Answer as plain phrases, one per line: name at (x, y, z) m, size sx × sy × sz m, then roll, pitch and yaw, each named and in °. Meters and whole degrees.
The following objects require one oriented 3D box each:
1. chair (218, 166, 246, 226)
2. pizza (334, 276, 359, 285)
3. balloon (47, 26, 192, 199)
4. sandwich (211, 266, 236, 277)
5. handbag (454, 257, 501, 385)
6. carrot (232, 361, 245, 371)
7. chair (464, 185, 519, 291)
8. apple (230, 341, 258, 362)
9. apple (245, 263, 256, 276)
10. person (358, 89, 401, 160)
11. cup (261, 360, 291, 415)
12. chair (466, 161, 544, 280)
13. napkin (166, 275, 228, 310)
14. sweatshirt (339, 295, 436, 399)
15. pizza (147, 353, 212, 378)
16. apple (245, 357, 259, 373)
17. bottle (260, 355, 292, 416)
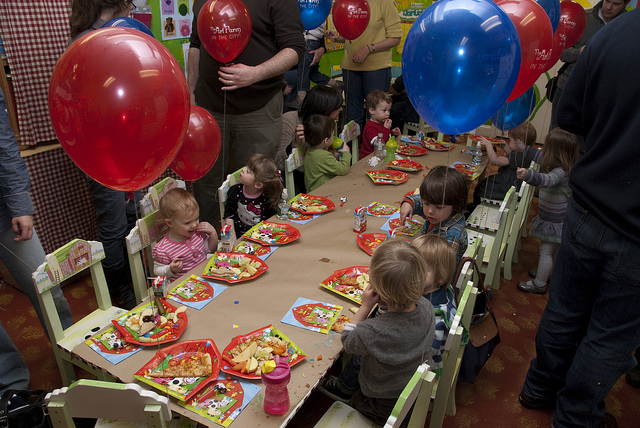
chair at (-0.712, -0.148, 3.504) m, size 0.215 × 0.441 × 0.268 m, roll 4°, pitch 45°, yaw 2°
pizza at (0.171, 0.410, 2.659) m, size 0.085 × 0.017 × 0.059 m, roll 5°, pitch 28°, yaw 11°
balloon at (-0.946, -0.485, 2.059) m, size 0.594 × 0.734 × 0.334 m, roll 3°, pitch 24°, yaw 2°
sandwich at (-0.596, 0.358, 2.662) m, size 0.090 × 0.025 × 0.071 m, roll 12°, pitch 22°, yaw 11°
handbag at (1.022, 0.732, 2.833) m, size 0.266 × 0.818 × 0.534 m, roll 12°, pitch 34°, yaw 35°
carrot at (-0.408, 0.769, 2.177) m, size 0.030 × 0.012 × 0.049 m, roll 3°, pitch 41°, yaw 14°
chair at (1.418, 0.210, 3.554) m, size 0.371 × 0.755 × 0.418 m, roll 22°, pitch 50°, yaw 30°
apple at (-0.378, 0.718, 2.222) m, size 0.151 × 0.035 × 0.059 m, roll -22°, pitch 36°, yaw -38°
apple at (-0.430, 0.342, 2.691) m, size 0.020 × 0.032 × 0.079 m, roll 25°, pitch 26°, yaw -43°
person at (0.624, -0.980, 4.677) m, size 0.333 × 0.966 × 0.434 m, roll 11°, pitch 49°, yaw 13°
cup at (-0.204, 0.815, 2.067) m, size 0.125 × 0.294 × 0.143 m, roll -2°, pitch 22°, yaw -4°
chair at (1.614, 0.056, 3.773) m, size 0.440 × 0.892 × 0.468 m, roll 23°, pitch 53°, yaw 28°
napkin at (-0.735, 0.469, 2.585) m, size 0.297 × 0.039 × 0.219 m, roll 12°, pitch 30°, yaw 16°
sweatshirt at (0.362, 0.677, 2.215) m, size 0.263 × 0.566 × 0.317 m, roll -27°, pitch 51°, yaw -19°
pizza at (-0.685, 0.783, 2.148) m, size 0.256 × 0.052 × 0.126 m, roll -8°, pitch 49°, yaw -18°
apple at (-0.343, 0.771, 2.189) m, size 0.059 × 0.044 × 0.064 m, roll 6°, pitch 27°, yaw 7°
bottle at (-0.209, 0.829, 2.044) m, size 0.119 × 0.275 × 0.136 m, roll 4°, pitch 27°, yaw 6°
